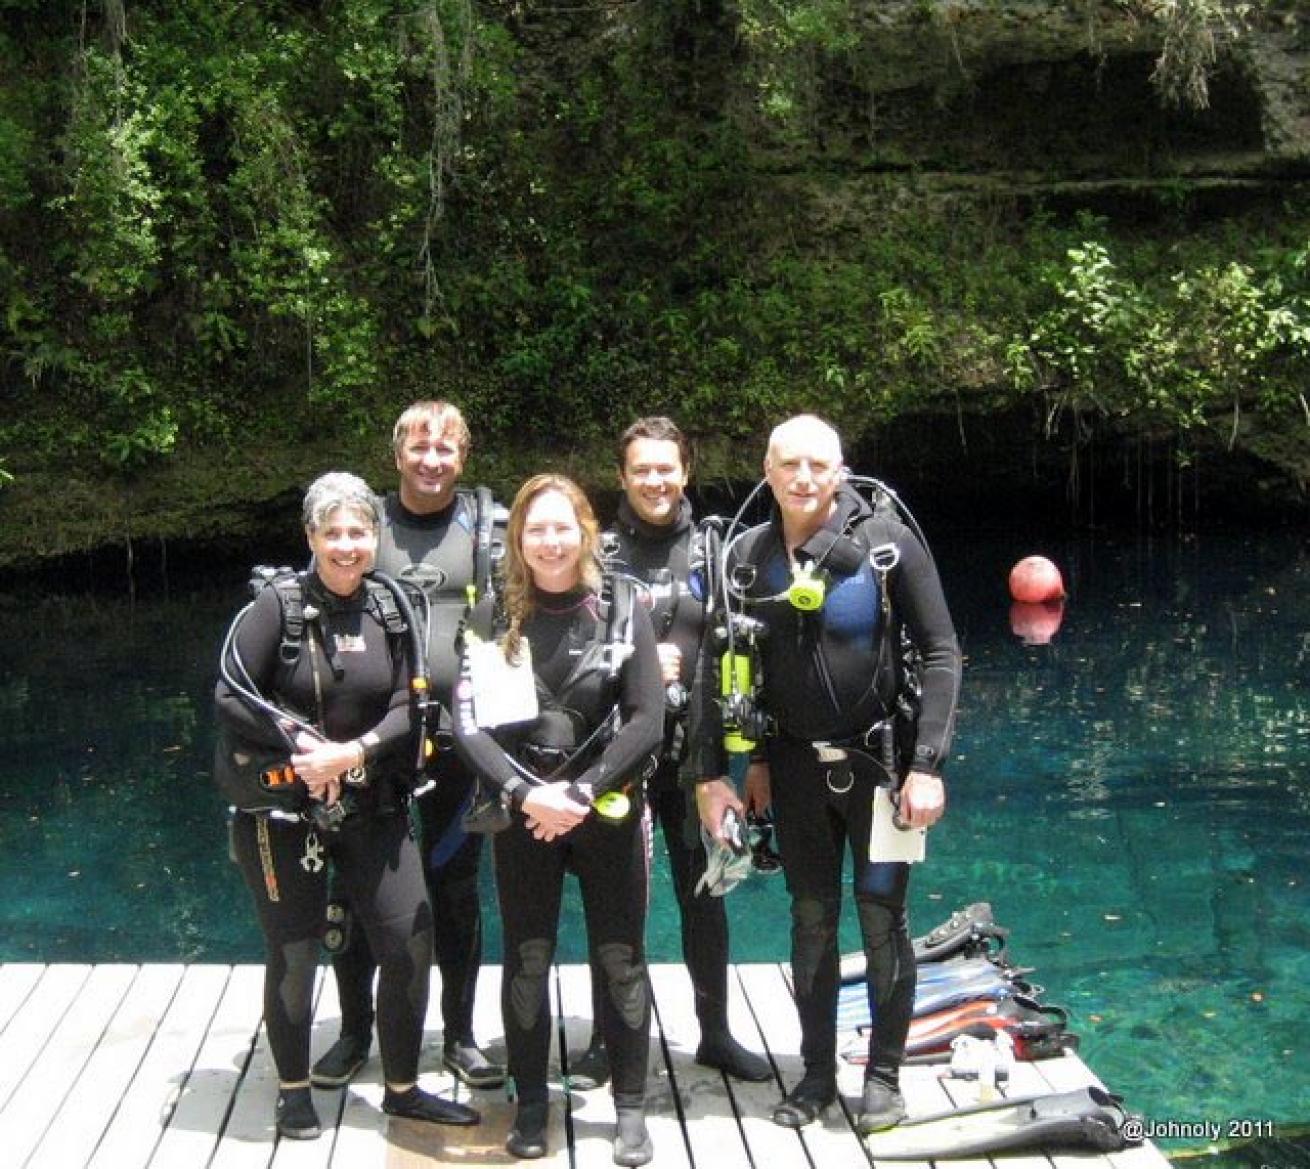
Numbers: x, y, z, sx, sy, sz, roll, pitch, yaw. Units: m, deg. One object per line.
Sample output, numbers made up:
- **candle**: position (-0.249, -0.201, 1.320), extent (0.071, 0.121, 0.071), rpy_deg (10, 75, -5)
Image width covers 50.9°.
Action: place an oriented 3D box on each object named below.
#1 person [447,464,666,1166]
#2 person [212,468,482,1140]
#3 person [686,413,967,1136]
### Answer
- **person**: position (-0.280, 0.685, 4.101), extent (0.616, 1.955, 0.607), rpy_deg (-2, 12, -1)
- **person**: position (-0.978, 0.798, 4.217), extent (0.665, 1.696, 0.551), rpy_deg (-5, 12, -14)
- **person**: position (0.592, 0.544, 4.308), extent (0.688, 2.113, 0.771), rpy_deg (-3, 12, -5)
